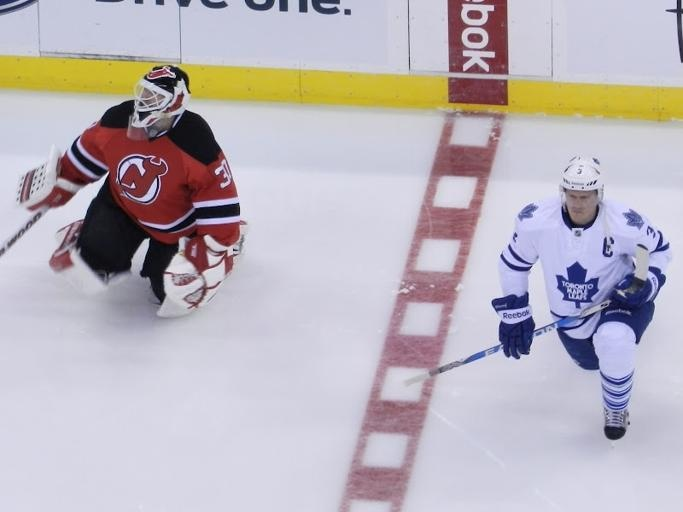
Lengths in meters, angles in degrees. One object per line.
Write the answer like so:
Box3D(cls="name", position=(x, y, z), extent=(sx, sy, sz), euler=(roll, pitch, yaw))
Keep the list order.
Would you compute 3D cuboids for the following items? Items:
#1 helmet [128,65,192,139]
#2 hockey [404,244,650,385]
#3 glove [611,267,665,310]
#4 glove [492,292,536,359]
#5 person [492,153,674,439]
Box3D(cls="helmet", position=(-0.880, -0.757, 5.137), extent=(0.414, 0.362, 0.284), euler=(8, -11, -9))
Box3D(cls="hockey", position=(1.017, 0.350, 4.975), extent=(1.558, 0.513, 0.069), euler=(-22, 44, 22))
Box3D(cls="glove", position=(1.479, 0.154, 4.901), extent=(0.268, 0.095, 0.269), euler=(-28, -2, -12))
Box3D(cls="glove", position=(0.883, 0.351, 5.026), extent=(0.237, 0.309, 0.105), euler=(-4, 12, 19))
Box3D(cls="person", position=(1.190, 0.217, 4.943), extent=(0.947, 1.229, 0.811), euler=(-20, 21, -31))
